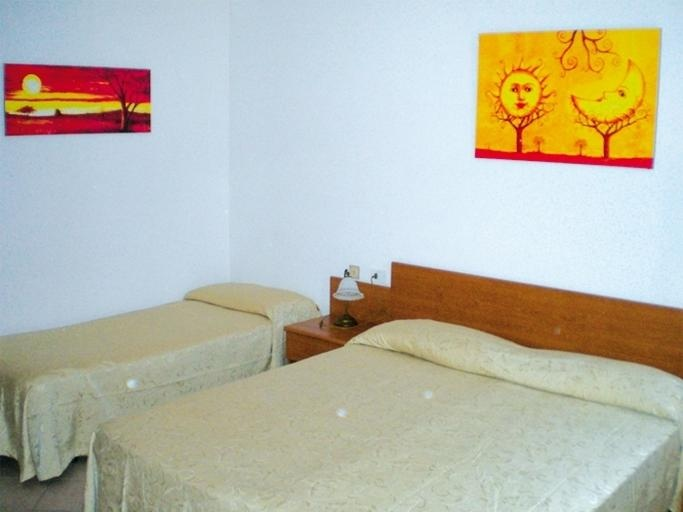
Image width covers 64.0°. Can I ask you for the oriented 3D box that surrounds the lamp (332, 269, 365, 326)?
[{"bbox_3d":[0.056,0.317,4.076,0.331,0.504,0.304,1,14,2],"label":"lamp"}]

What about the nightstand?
[{"bbox_3d":[-0.057,0.500,4.081,0.577,0.754,0.786,-6,11,-45],"label":"nightstand"}]
